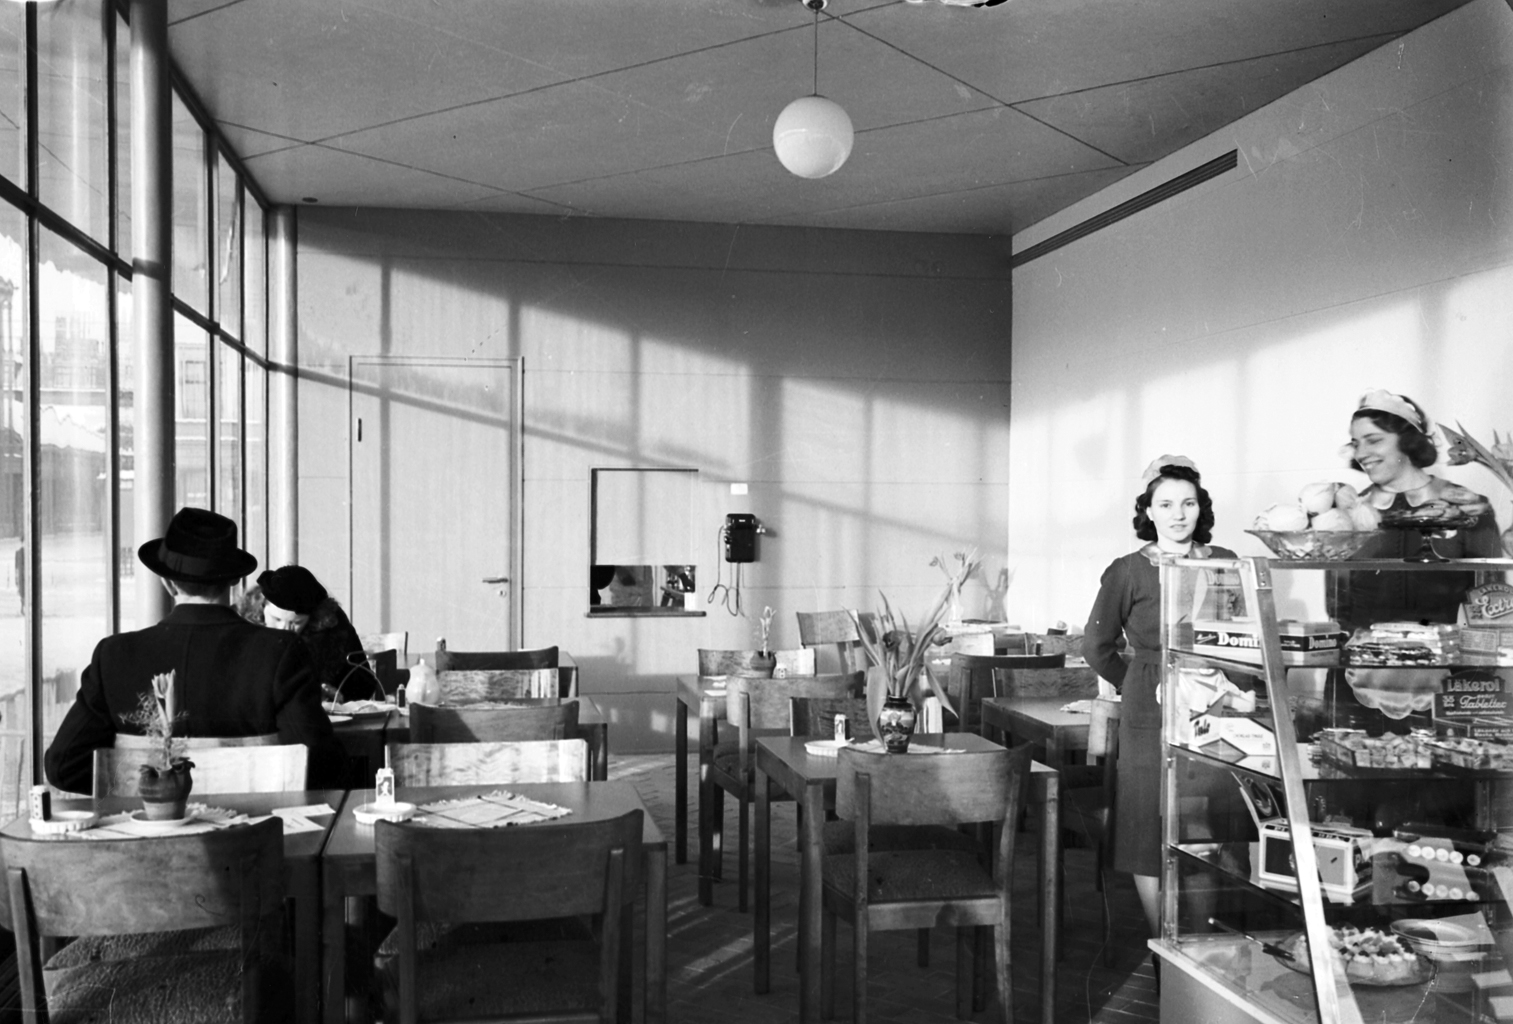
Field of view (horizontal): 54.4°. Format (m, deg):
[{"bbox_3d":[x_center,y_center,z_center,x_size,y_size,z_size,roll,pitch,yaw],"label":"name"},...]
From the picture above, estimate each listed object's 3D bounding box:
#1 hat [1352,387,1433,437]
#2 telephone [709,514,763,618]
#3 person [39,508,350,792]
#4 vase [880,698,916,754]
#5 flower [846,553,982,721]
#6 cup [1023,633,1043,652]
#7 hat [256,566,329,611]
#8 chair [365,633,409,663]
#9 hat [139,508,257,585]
[{"bbox_3d":[2.729,-0.422,6.312,0.216,0.078,0.222,19,6,-5],"label":"hat"},{"bbox_3d":[-0.148,0.378,10.376,0.381,0.733,0.113,1,-4,-2],"label":"telephone"},{"bbox_3d":[-2.123,0.722,5.625,1.051,1.413,0.664,0,0,-8],"label":"person"},{"bbox_3d":[0.518,0.827,5.638,0.176,0.207,0.174,0,-1,2],"label":"vase"},{"bbox_3d":[0.822,0.681,8.120,0.757,0.982,0.738,3,8,20],"label":"flower"},{"bbox_3d":[1.680,0.825,9.091,0.090,0.158,0.166,-2,-3,30],"label":"cup"},{"bbox_3d":[-2.119,0.382,6.711,0.216,0.091,0.238,39,22,12],"label":"hat"},{"bbox_3d":[-1.996,0.730,7.901,0.171,0.175,0.211,1,-9,-1],"label":"chair"},{"bbox_3d":[-2.108,0.121,5.586,0.436,0.194,0.517,7,9,-35],"label":"hat"}]
